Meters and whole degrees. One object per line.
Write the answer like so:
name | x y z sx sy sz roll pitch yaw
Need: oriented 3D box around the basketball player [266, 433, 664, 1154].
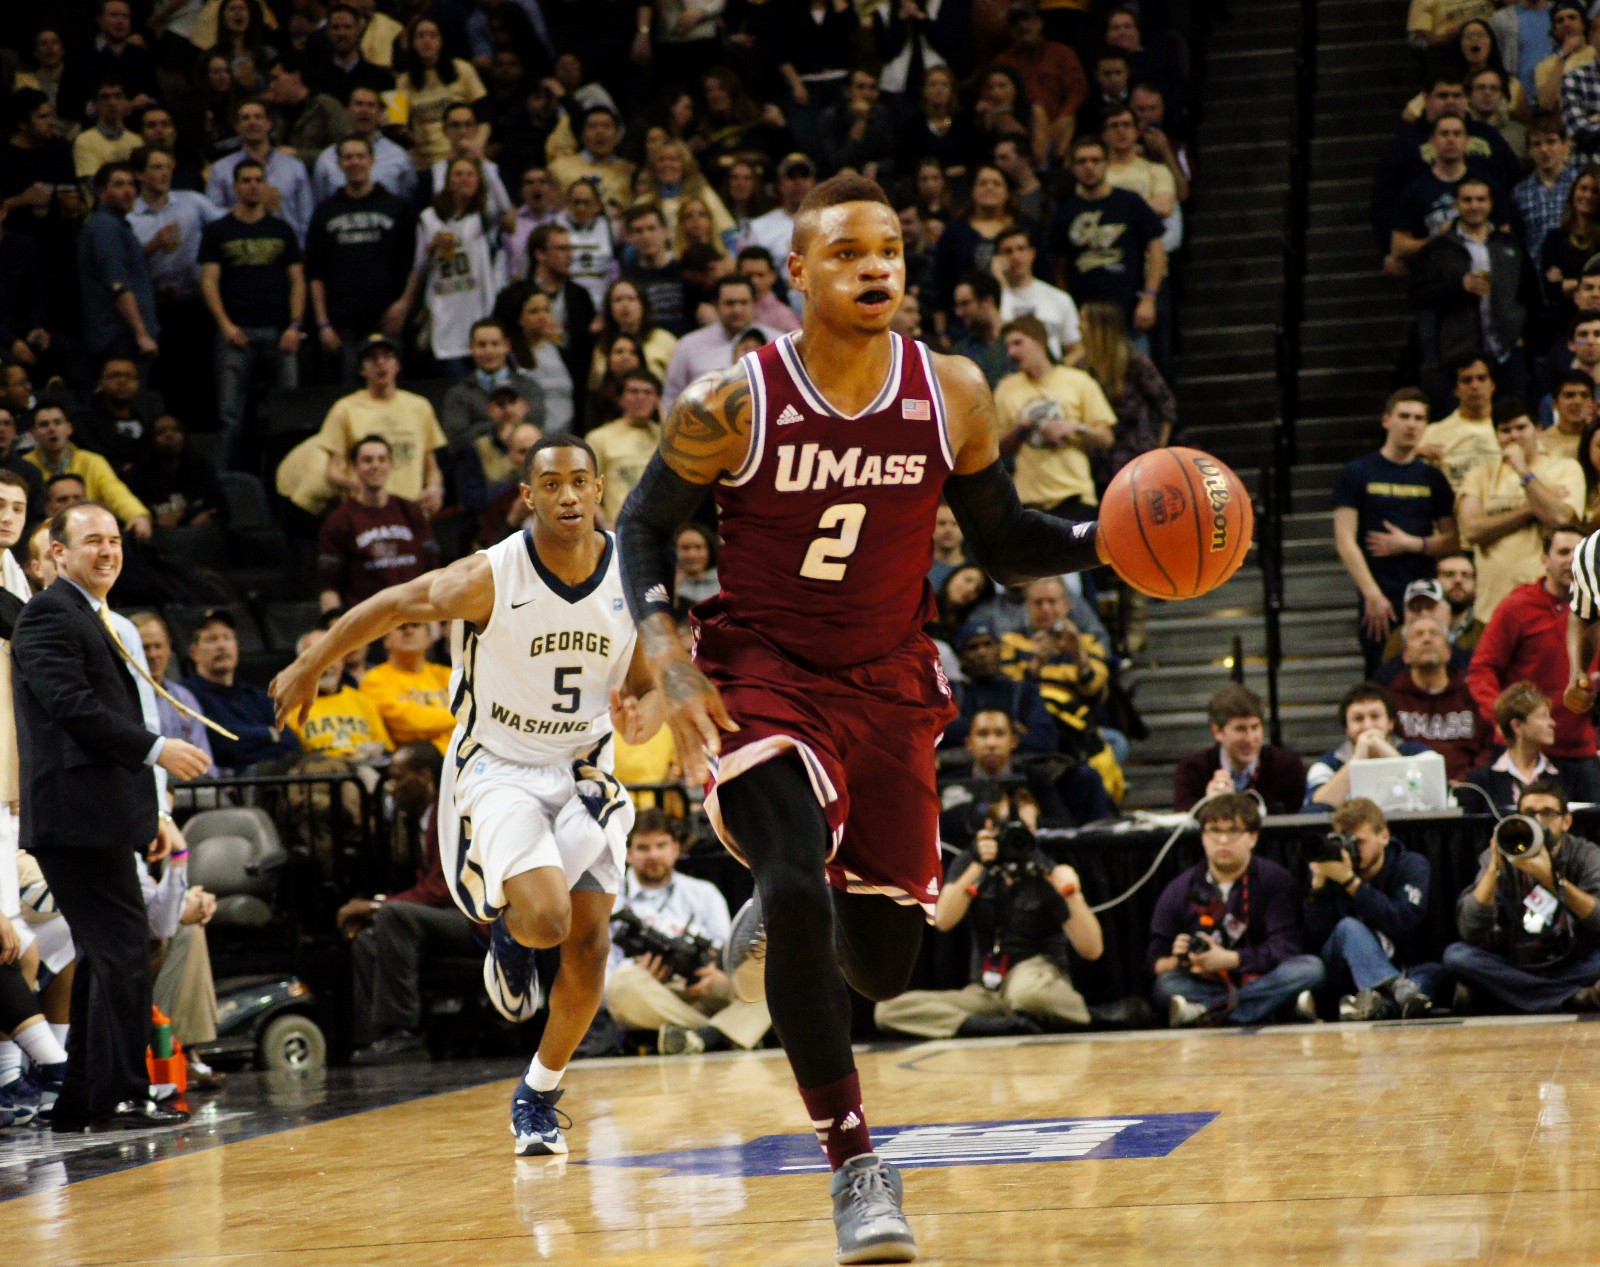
basketball player | -1.205 0.633 8.144 1.493 2.635 1.312 3 -8 -24

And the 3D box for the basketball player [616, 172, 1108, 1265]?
basketball player | 0.155 0.182 6.343 1.202 3.078 0.936 -5 1 -17

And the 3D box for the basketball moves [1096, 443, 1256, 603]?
basketball moves | 1.059 -0.259 6.632 0.459 0.526 0.444 13 -14 -3

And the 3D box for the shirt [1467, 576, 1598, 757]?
shirt | 3.835 0.211 11.338 0.852 0.968 0.518 3 -15 -4

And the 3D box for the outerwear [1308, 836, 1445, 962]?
outerwear | 2.872 1.418 10.945 0.585 0.743 0.718 -6 -5 23

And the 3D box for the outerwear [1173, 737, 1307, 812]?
outerwear | 2.349 0.778 11.629 0.653 0.482 0.353 -1 -6 5

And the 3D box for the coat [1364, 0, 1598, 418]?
coat | 4.820 -3.057 15.343 1.563 2.722 2.189 -5 0 20

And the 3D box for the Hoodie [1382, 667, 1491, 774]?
Hoodie | 3.508 0.486 11.926 0.448 0.573 0.244 -1 -21 -6

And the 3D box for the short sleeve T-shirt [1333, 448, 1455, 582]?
short sleeve T-shirt | 3.662 -0.719 13.352 0.824 0.987 0.352 -1 -5 5

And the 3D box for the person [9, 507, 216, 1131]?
person | -2.877 0.743 8.904 0.601 2.674 0.485 -5 1 -20

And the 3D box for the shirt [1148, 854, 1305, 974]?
shirt | 2.197 1.493 11.161 0.888 0.743 0.523 -6 -17 28
